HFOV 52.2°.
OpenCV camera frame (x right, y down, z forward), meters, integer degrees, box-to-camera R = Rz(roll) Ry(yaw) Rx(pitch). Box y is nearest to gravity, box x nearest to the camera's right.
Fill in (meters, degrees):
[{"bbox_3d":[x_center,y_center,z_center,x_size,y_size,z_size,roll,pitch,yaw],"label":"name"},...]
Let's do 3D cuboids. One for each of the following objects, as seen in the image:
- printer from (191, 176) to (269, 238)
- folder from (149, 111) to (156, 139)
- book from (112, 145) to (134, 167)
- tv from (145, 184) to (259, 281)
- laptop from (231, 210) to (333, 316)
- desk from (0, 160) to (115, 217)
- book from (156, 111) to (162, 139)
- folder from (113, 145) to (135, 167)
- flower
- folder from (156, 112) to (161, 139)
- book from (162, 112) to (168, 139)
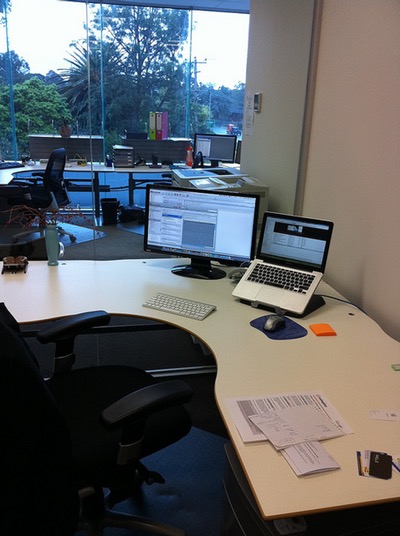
[{"bbox_3d":[0.166,-0.312,2.500,0.417,0.385,0.437,0,20,-5],"label":"printer"},{"bbox_3d":[-0.653,-1.945,5.579,0.087,0.354,0.076,1,17,-9],"label":"folder"},{"bbox_3d":[-0.957,-1.420,5.234,0.328,0.324,0.247,0,17,-10],"label":"book"},{"bbox_3d":[0.005,-0.164,1.943,0.441,0.320,0.122,9,24,18],"label":"tv"},{"bbox_3d":[0.345,-0.010,1.694,0.406,0.340,0.416,0,27,3],"label":"laptop"},{"bbox_3d":[-1.611,-1.179,5.059,1.105,0.727,1.134,1,16,-2],"label":"desk"},{"bbox_3d":[-0.560,-1.948,5.595,0.097,0.351,0.094,-3,18,-21],"label":"book"},{"bbox_3d":[-0.951,-1.408,5.195,0.328,0.319,0.248,0,22,-10],"label":"folder"},{"bbox_3d":[-1.101,-0.331,2.947,0.456,0.186,0.463,2,15,-1],"label":"flower"},{"bbox_3d":[-0.560,-1.948,5.595,0.097,0.351,0.094,-3,18,-21],"label":"folder"},{"bbox_3d":[-0.497,-1.969,5.642,0.072,0.333,0.089,1,17,-9],"label":"book"}]
